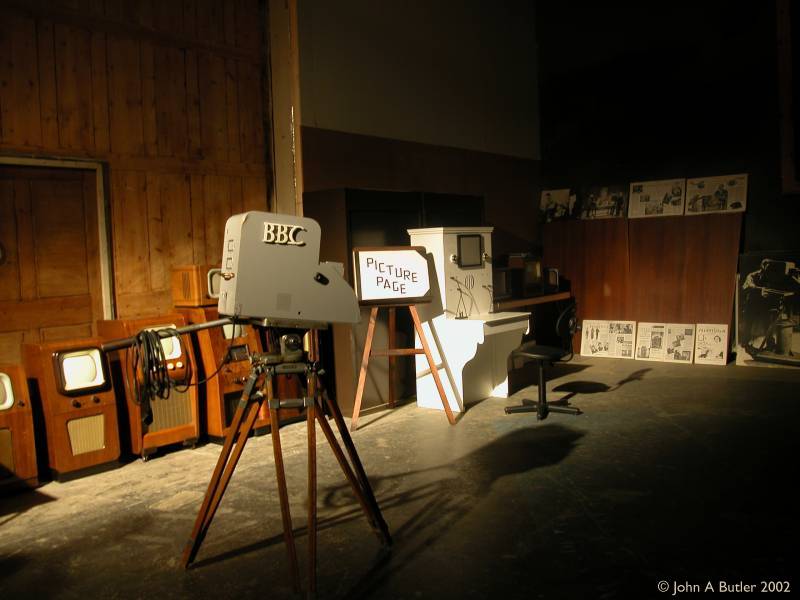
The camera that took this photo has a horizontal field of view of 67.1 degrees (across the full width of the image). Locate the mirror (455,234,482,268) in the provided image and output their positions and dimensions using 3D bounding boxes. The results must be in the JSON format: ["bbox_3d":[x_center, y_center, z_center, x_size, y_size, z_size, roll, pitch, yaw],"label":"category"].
[{"bbox_3d":[0.742,-0.550,6.577,0.035,0.383,0.346,-1,-3,43],"label":"mirror"}]

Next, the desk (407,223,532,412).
[{"bbox_3d":[0.817,0.150,6.700,0.965,2.015,0.970,-9,8,-42],"label":"desk"}]

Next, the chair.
[{"bbox_3d":[1.587,0.517,6.660,1.015,1.552,1.197,1,0,19],"label":"chair"}]
